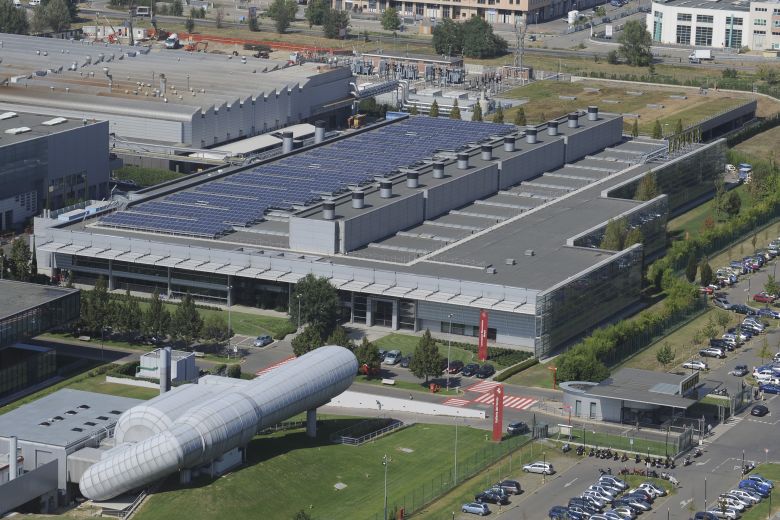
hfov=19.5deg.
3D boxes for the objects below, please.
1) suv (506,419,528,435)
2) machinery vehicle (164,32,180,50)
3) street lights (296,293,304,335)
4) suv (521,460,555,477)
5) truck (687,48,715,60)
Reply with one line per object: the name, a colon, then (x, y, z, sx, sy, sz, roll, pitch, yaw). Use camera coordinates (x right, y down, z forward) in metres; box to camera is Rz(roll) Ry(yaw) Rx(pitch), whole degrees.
suv: (17.504, 23.160, 314.723, 2.540, 1.178, 1.507, -16, 23, -36)
machinery vehicle: (-45.126, -45.342, 470.691, 3.078, 2.468, 5.089, 5, 21, 7)
street lights: (-13.359, 7.754, 334.604, 0.672, 5.650, 0.911, -1, 13, -2)
suv: (19.982, 28.043, 307.610, 3.560, 1.134, 1.884, 6, 12, 14)
truck: (66.695, -44.170, 487.971, 3.985, 1.832, 2.821, 2, 10, 7)
